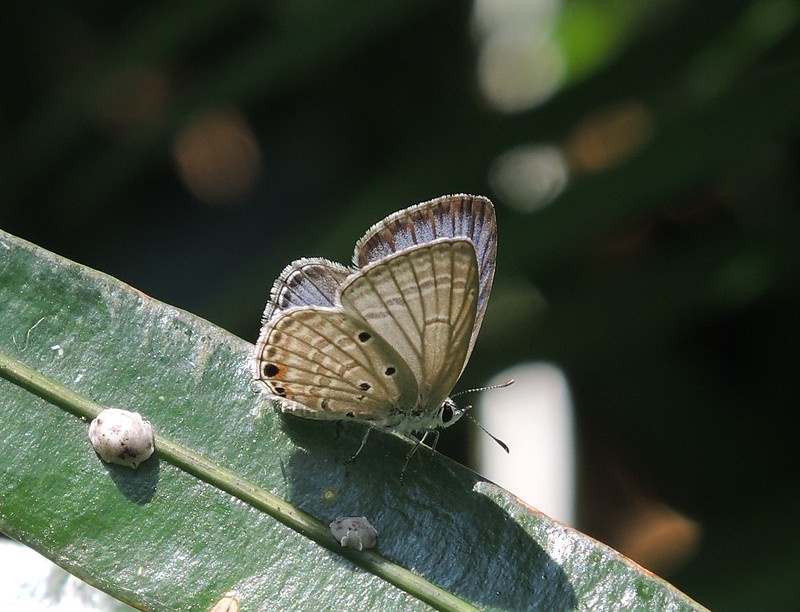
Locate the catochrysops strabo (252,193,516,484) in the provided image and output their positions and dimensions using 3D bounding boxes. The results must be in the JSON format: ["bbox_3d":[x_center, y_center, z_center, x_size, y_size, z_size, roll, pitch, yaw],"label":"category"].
[{"bbox_3d":[-0.014,0.067,2.707,0.692,0.602,0.772,3,-3,-4],"label":"catochrysops strabo"}]
